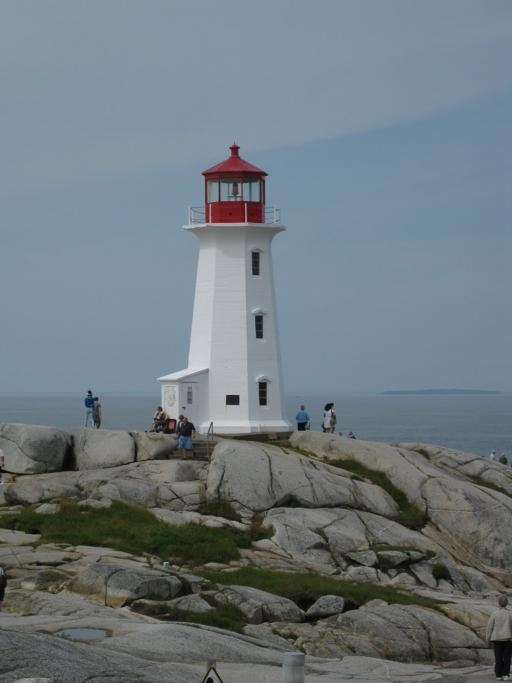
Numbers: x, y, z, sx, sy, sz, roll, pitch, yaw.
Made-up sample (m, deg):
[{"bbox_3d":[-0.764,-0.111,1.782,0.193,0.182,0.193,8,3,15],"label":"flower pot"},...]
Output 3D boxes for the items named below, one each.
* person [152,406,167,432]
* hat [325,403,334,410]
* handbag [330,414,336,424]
[{"bbox_3d":[-4.077,3.335,41.375,0.596,1.117,1.607,10,-1,-5],"label":"person"},{"bbox_3d":[3.300,2.983,44.361,0.343,0.129,0.548,0,9,25],"label":"hat"},{"bbox_3d":[3.465,3.557,44.122,0.183,0.508,0.608,10,-1,16],"label":"handbag"}]
